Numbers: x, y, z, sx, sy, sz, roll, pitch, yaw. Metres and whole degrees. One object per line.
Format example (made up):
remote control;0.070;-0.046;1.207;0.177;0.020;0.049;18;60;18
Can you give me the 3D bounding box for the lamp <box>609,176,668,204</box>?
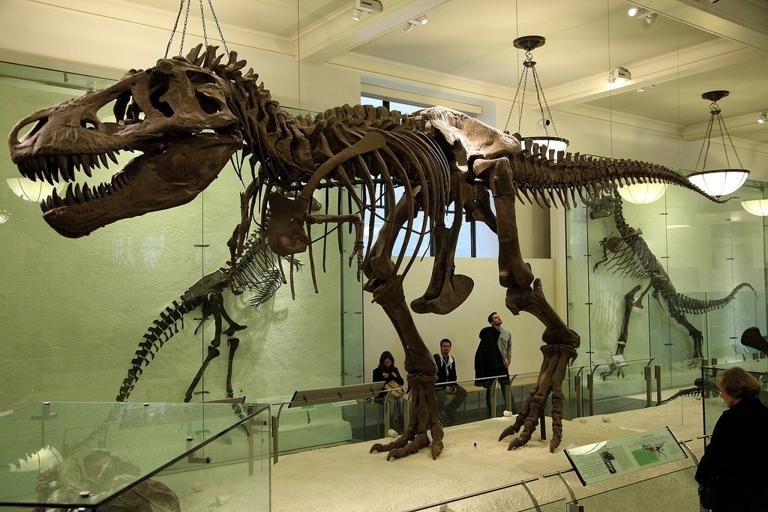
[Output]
lamp;3.817;-0.957;8.714;0.666;0.415;0.675;-4;-5;42
